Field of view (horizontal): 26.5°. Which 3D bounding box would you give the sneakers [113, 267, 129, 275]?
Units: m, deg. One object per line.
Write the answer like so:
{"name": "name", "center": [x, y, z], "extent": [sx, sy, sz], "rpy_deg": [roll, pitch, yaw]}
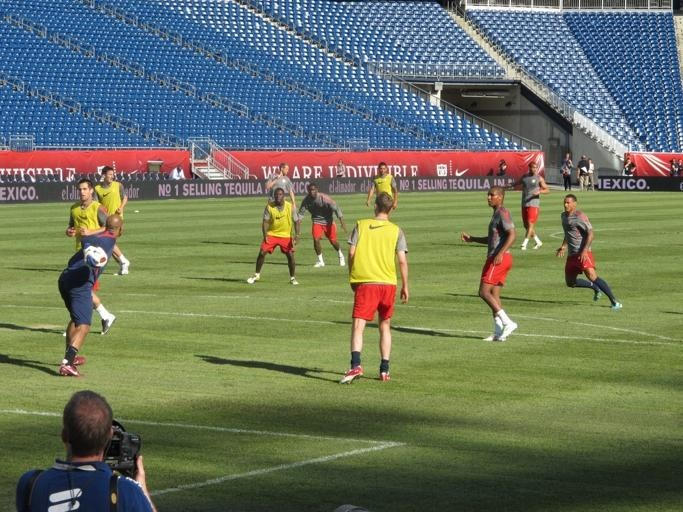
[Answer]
{"name": "sneakers", "center": [-5.100, 0.343, 33.366], "extent": [0.131, 0.150, 0.375], "rpy_deg": [0, 3, -40]}

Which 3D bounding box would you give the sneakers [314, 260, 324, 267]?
{"name": "sneakers", "center": [-0.627, 0.159, 34.889], "extent": [0.291, 0.179, 0.097], "rpy_deg": [5, 14, 25]}

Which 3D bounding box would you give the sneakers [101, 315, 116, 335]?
{"name": "sneakers", "center": [-4.390, 1.265, 27.059], "extent": [0.263, 0.484, 0.164], "rpy_deg": [18, 42, -12]}

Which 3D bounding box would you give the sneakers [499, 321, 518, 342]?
{"name": "sneakers", "center": [3.094, 1.348, 26.995], "extent": [0.195, 0.245, 0.547], "rpy_deg": [-28, 8, 15]}

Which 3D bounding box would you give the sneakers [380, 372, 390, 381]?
{"name": "sneakers", "center": [0.721, 2.034, 24.787], "extent": [0.129, 0.140, 0.345], "rpy_deg": [-1, -5, 10]}

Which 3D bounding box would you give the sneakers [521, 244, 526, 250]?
{"name": "sneakers", "center": [4.749, -0.256, 37.949], "extent": [0.107, 0.128, 0.316], "rpy_deg": [2, 6, 7]}

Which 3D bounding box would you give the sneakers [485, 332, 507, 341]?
{"name": "sneakers", "center": [2.861, 1.484, 27.054], "extent": [0.434, 0.166, 0.141], "rpy_deg": [1, 0, 20]}

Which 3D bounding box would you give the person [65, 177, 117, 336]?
{"name": "person", "center": [-5.196, 0.037, 29.483], "extent": [1.147, 3.127, 1.091], "rpy_deg": [0, 0, -35]}

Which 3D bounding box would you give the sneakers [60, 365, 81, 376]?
{"name": "sneakers", "center": [-4.668, 1.928, 24.808], "extent": [0.426, 0.183, 0.142], "rpy_deg": [5, 8, -11]}

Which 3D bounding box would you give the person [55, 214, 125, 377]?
{"name": "person", "center": [-4.444, 0.633, 25.208], "extent": [1.003, 2.686, 1.291], "rpy_deg": [1, 6, -3]}
